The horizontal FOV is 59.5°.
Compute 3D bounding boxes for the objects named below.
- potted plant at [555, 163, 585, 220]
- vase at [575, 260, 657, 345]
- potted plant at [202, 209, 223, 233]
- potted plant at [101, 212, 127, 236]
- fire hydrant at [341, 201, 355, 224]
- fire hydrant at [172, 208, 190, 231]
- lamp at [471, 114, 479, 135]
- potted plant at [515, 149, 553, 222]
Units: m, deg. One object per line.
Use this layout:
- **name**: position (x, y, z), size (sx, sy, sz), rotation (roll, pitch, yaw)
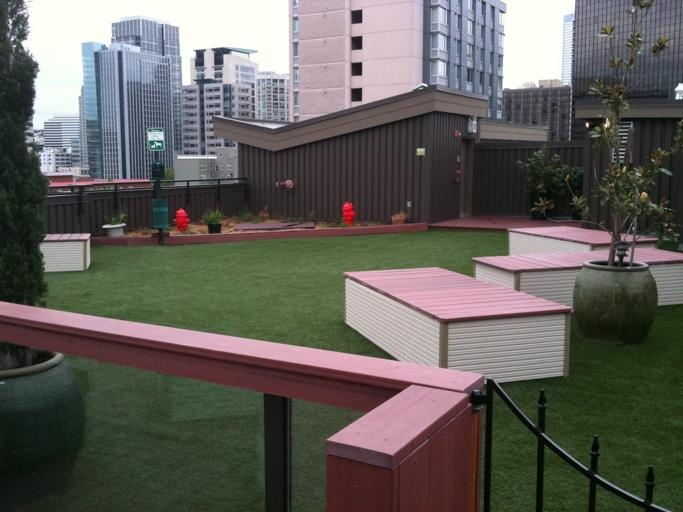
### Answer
- **potted plant**: position (6.848, -1.955, 18.104), size (0.740, 1.752, 1.251), rotation (-1, 5, 20)
- **vase**: position (2.863, 0.458, 6.580), size (0.801, 0.813, 0.829), rotation (0, 5, 0)
- **potted plant**: position (-3.462, -0.936, 16.179), size (0.622, 0.848, 0.782), rotation (-3, 9, -19)
- **potted plant**: position (-5.717, -0.782, 15.221), size (0.501, 0.514, 0.626), rotation (0, 1, 28)
- **fire hydrant**: position (0.209, -1.311, 18.441), size (0.415, 0.705, 0.849), rotation (-3, 4, 1)
- **fire hydrant**: position (-4.410, -0.986, 16.509), size (0.358, 0.636, 0.797), rotation (-4, 5, -17)
- **lamp**: position (4.378, -4.333, 19.889), size (0.243, 0.585, 0.756), rotation (0, 5, 29)
- **potted plant**: position (6.032, -2.232, 18.468), size (0.899, 2.161, 1.749), rotation (-2, 4, 9)
